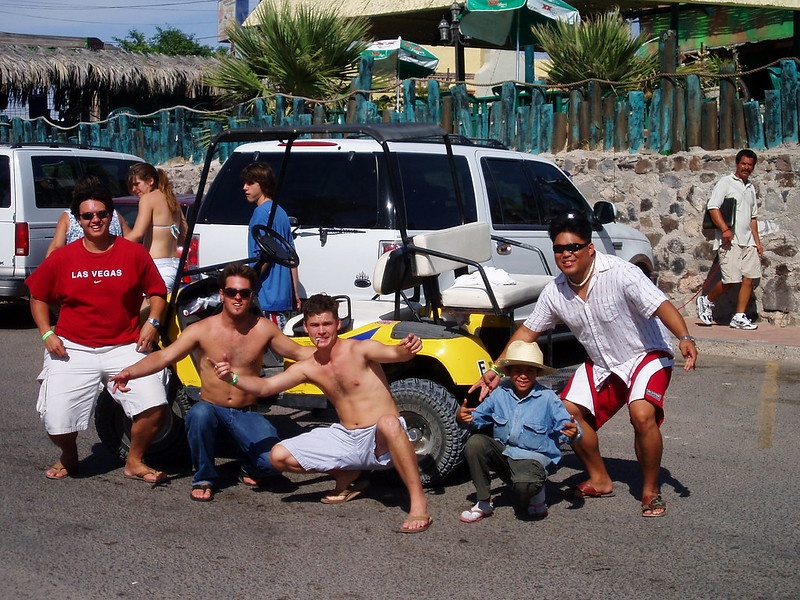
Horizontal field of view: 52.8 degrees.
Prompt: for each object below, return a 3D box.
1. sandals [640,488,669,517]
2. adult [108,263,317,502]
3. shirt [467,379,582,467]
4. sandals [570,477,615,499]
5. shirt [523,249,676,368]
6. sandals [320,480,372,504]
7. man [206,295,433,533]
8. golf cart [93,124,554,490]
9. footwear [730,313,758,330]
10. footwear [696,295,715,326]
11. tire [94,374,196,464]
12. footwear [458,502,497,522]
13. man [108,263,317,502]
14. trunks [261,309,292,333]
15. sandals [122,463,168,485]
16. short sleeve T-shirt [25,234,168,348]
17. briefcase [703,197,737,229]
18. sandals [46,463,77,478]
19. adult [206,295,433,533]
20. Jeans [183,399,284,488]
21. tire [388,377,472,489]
[{"bbox_3d":[1.692,1.325,5.365,0.162,0.157,0.229,3,11,17],"label":"sandals"},{"bbox_3d":[-1.208,0.577,5.674,1.737,1.547,0.595,-2,8,-21],"label":"adult"},{"bbox_3d":[0.801,0.793,5.237,0.810,0.706,0.448,0,0,13],"label":"shirt"},{"bbox_3d":[1.345,1.306,5.629,0.216,0.081,0.126,1,-1,-3],"label":"sandals"},{"bbox_3d":[1.387,0.113,5.571,0.418,0.812,1.127,-19,3,-43],"label":"shirt"},{"bbox_3d":[-0.370,1.346,5.688,0.121,0.103,0.346,-1,7,40],"label":"sandals"},{"bbox_3d":[-0.435,0.710,5.365,1.420,1.411,0.800,-4,1,18],"label":"man"},{"bbox_3d":[-0.539,-0.040,6.917,3.494,2.436,2.365,0,13,16],"label":"golf cart"},{"bbox_3d":[4.312,0.272,10.183,0.397,0.216,0.151,3,8,23],"label":"footwear"},{"bbox_3d":[3.998,0.136,10.529,0.135,0.347,0.164,-13,-5,-32],"label":"footwear"},{"bbox_3d":[-1.863,0.856,5.957,0.591,0.619,0.214,14,6,12],"label":"tire"},{"bbox_3d":[0.509,1.364,5.299,0.210,0.093,0.114,-3,2,-37],"label":"footwear"},{"bbox_3d":[-1.204,0.578,5.673,1.753,1.551,0.614,-2,8,-22],"label":"man"},{"bbox_3d":[-1.060,0.157,6.947,0.189,0.189,0.178,-2,25,10],"label":"trunks"},{"bbox_3d":[-1.845,1.256,5.893,0.273,0.078,0.131,-1,5,21],"label":"sandals"},{"bbox_3d":[-2.208,-0.069,5.935,0.978,0.775,0.398,-2,11,-7],"label":"short sleeve T-shirt"},{"bbox_3d":[4.076,-1.075,10.015,0.332,0.346,0.079,0,-12,42],"label":"briefcase"},{"bbox_3d":[-2.507,1.257,5.973,0.186,0.074,0.094,9,-4,-38],"label":"sandals"},{"bbox_3d":[-0.426,0.701,5.379,1.385,1.418,0.777,-4,1,21],"label":"adult"},{"bbox_3d":[-1.202,0.993,5.818,0.655,0.659,0.476,4,-12,-18],"label":"Jeans"},{"bbox_3d":[0.236,0.899,5.705,0.208,0.703,0.668,-6,2,-44],"label":"tire"}]
